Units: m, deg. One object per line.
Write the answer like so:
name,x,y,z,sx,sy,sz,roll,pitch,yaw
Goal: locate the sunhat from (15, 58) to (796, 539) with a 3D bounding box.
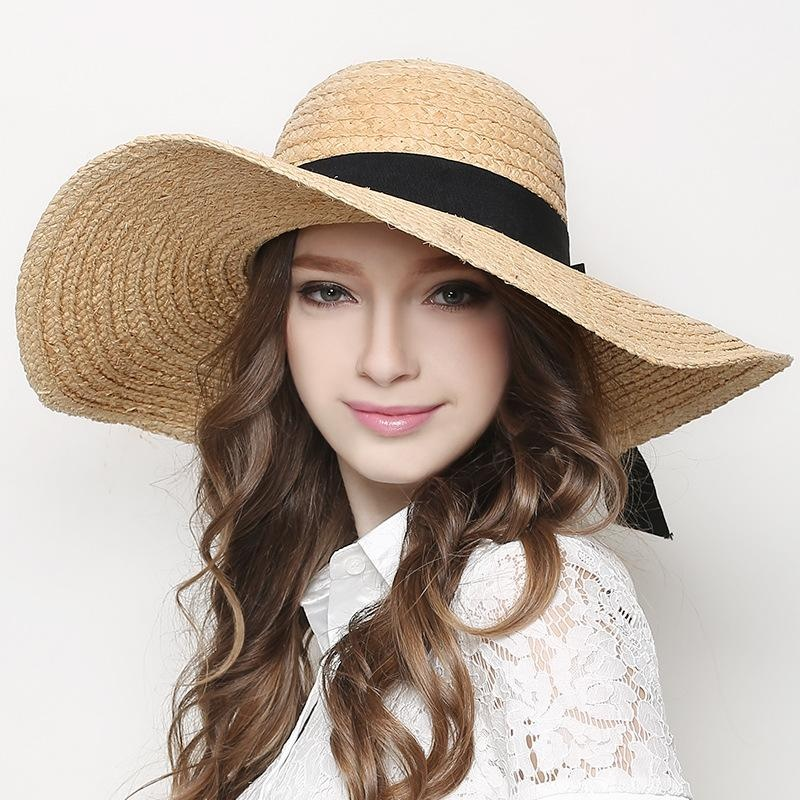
sunhat,-0.111,-0.242,1.924,1.195,0.368,0.958,6,-20,5
